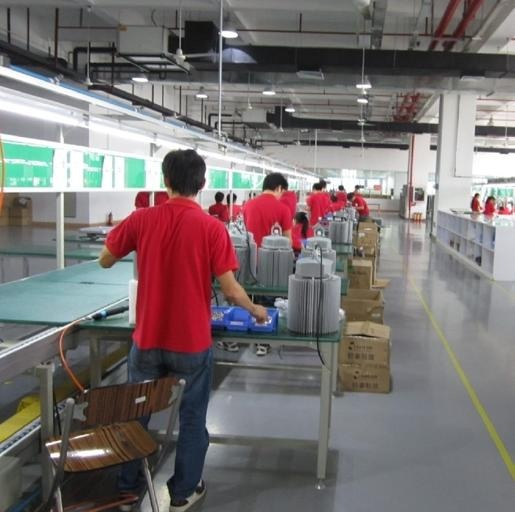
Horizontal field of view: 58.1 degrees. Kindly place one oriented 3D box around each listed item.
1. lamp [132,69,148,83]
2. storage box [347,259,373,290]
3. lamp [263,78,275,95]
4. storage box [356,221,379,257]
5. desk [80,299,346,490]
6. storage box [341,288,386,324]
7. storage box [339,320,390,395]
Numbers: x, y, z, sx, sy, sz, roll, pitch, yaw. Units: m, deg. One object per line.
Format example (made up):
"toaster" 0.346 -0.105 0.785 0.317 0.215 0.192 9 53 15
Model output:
"lamp" -2.010 -3.092 7.898 0.298 0.083 0.323 17 34 23
"storage box" 1.087 0.176 4.891 0.294 0.489 0.439 -1 1 14
"lamp" 0.217 -2.901 7.857 0.228 0.306 0.267 0 2 3
"storage box" 1.759 -0.272 7.452 0.284 0.634 0.578 0 5 9
"desk" 0.073 0.600 2.492 0.938 0.708 1.004 1 3 9
"storage box" 0.907 0.419 3.957 0.288 0.221 0.319 0 5 11
"storage box" 0.750 0.522 3.321 0.383 0.592 0.721 0 3 11
